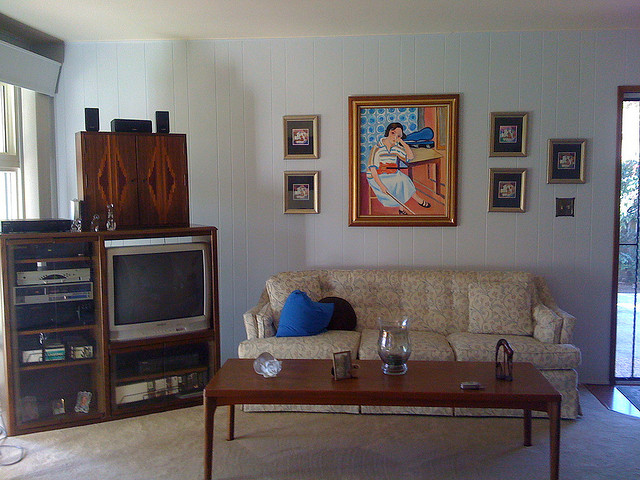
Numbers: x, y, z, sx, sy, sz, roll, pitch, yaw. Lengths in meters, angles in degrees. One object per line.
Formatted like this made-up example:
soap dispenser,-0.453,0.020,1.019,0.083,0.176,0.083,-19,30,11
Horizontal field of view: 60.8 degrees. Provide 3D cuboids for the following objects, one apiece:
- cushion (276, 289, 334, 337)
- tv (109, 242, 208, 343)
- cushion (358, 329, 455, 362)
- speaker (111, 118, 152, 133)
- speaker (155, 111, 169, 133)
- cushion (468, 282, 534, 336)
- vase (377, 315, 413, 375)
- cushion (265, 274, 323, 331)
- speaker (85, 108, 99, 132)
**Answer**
cushion,-0.133,0.653,4.888,0.540,0.368,0.315,-3,15,-9
tv,-1.479,0.402,4.866,0.877,0.787,0.481,-4,7,-30
cushion,0.907,0.911,4.692,0.432,0.167,0.419,0,0,3
speaker,-1.685,-1.014,4.848,0.349,0.117,0.179,-4,15,-12
speaker,-1.441,-1.075,4.968,0.114,0.188,0.126,-5,15,-16
cushion,1.632,0.615,4.961,0.541,0.470,0.155,3,-11,15
vase,0.597,0.767,4.017,0.244,0.372,0.240,0,-8,-15
cushion,-0.279,0.573,5.096,0.493,0.470,0.143,2,-11,-24
speaker,-1.978,-1.037,4.723,0.104,0.193,0.152,-6,15,-19
